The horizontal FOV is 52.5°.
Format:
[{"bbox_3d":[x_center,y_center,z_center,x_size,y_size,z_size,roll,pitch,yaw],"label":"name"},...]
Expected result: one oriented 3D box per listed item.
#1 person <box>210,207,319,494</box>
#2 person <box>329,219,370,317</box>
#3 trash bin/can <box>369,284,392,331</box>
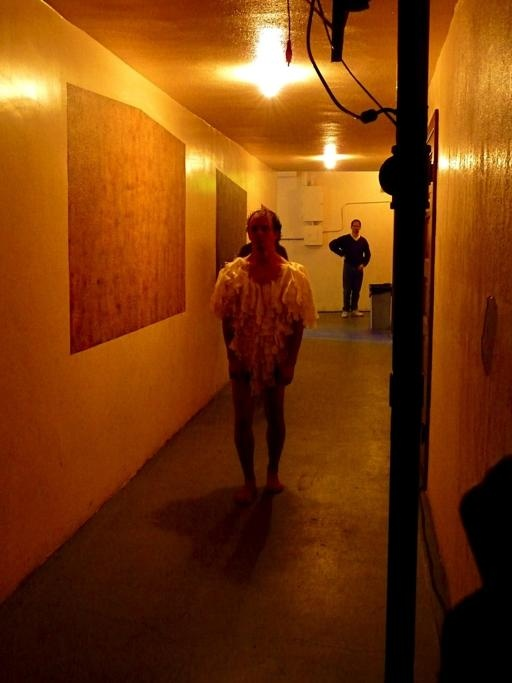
[{"bbox_3d":[0.049,0.075,3.341,0.639,1.884,0.290,0,4,-8],"label":"person"},{"bbox_3d":[2.317,-1.781,12.789,0.861,2.316,1.009,1,4,12],"label":"person"},{"bbox_3d":[2.624,-0.739,11.006,0.437,0.991,0.683,2,5,14],"label":"trash bin/can"}]
